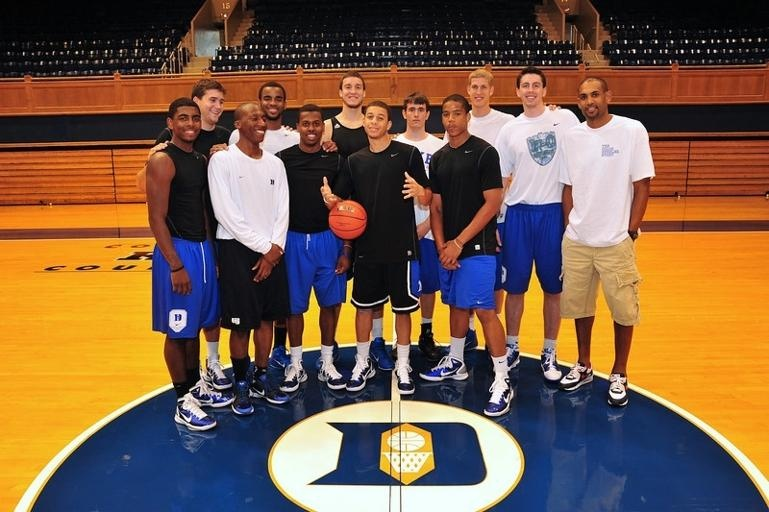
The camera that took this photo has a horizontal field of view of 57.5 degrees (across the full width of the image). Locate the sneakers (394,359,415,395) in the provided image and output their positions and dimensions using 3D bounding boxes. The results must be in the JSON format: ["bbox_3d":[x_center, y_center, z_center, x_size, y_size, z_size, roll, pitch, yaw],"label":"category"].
[{"bbox_3d":[0.231,1.281,7.337,0.137,0.161,0.405,0,8,-5],"label":"sneakers"}]

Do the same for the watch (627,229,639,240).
[{"bbox_3d":[2.554,-0.216,7.123,0.101,0.076,0.084,0,8,-1],"label":"watch"}]

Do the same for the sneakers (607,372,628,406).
[{"bbox_3d":[2.406,1.344,7.128,0.195,0.279,0.298,5,16,19],"label":"sneakers"}]

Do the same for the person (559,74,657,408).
[{"bbox_3d":[2.205,-0.154,7.093,0.867,3.182,0.814,5,17,20],"label":"person"}]

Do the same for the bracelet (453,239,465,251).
[{"bbox_3d":[0.766,-0.110,7.084,0.111,0.047,0.095,29,-6,43],"label":"bracelet"}]

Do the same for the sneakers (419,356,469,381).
[{"bbox_3d":[0.674,1.217,7.546,0.574,0.279,0.215,1,-3,-5],"label":"sneakers"}]

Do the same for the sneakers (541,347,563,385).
[{"bbox_3d":[1.794,1.169,7.456,0.146,0.180,0.407,-1,6,5],"label":"sneakers"}]
